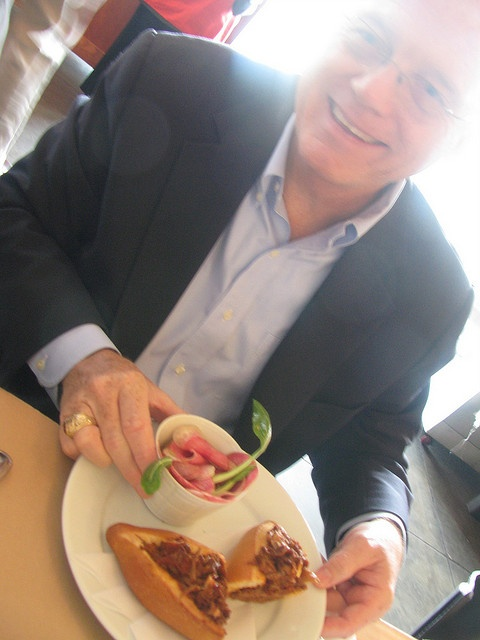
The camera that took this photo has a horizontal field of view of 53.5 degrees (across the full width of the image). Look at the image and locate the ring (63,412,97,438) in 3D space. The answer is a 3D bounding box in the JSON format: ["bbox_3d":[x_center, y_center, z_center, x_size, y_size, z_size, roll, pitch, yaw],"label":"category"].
[{"bbox_3d":[-0.213,0.137,0.630,0.028,0.032,0.017,-5,69,-61],"label":"ring"}]
